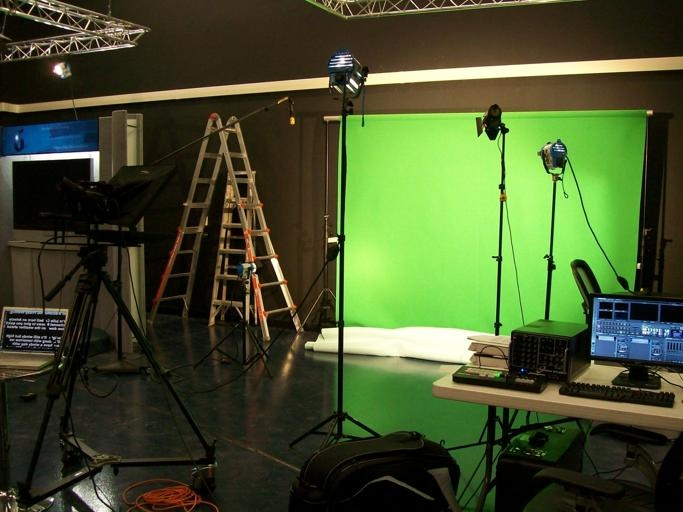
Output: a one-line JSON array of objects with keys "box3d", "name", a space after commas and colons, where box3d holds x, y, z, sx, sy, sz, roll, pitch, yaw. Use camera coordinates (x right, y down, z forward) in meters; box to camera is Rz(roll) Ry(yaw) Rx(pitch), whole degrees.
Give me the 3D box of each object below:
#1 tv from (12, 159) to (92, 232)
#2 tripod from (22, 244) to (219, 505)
[{"box3d": [-2.727, -0.593, 6.256, 0.840, 0.675, 0.123, 1, 1, 23], "name": "tv"}, {"box3d": [-1.608, 0.776, 4.399, 1.325, 1.686, 0.933, 3, 4, 26], "name": "tripod"}]
